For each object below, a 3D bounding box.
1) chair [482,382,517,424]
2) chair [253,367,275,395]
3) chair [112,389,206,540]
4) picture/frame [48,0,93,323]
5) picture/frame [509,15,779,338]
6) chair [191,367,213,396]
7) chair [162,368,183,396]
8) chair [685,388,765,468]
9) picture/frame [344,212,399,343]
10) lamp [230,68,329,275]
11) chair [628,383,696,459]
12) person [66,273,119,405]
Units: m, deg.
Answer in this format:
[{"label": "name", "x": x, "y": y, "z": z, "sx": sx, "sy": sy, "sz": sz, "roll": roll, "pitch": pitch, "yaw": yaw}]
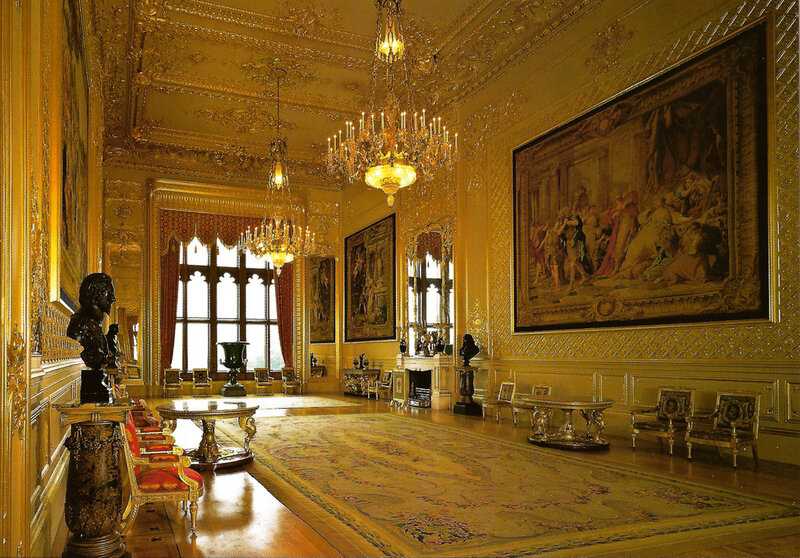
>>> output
[{"label": "chair", "x": 1.982, "y": 2.437, "z": 11.736, "sx": 0.553, "sy": 0.749, "sz": 0.511, "roll": 4, "pitch": -8, "yaw": -33}, {"label": "chair", "x": -4.411, "y": 3.300, "z": 18.806, "sx": 0.692, "sy": 0.960, "sz": 0.764, "roll": 3, "pitch": -10, "yaw": -22}, {"label": "chair", "x": -2.490, "y": 1.869, "z": 6.319, "sx": 1.263, "sy": 1.738, "sz": 1.084, "roll": 1, "pitch": -3, "yaw": -13}, {"label": "picture/frame", "x": -4.382, "y": -1.755, "z": 7.921, "sx": 0.247, "sy": 4.298, "sz": 4.877, "roll": 0, "pitch": -2, "yaw": -27}, {"label": "picture/frame", "x": 4.083, "y": -1.718, "z": 9.576, "sx": 0.213, "sy": 3.922, "sz": 5.634, "roll": 3, "pitch": -6, "yaw": -28}, {"label": "chair", "x": -6.044, "y": 3.121, "z": 17.709, "sx": 0.668, "sy": 0.973, "sz": 0.706, "roll": 2, "pitch": -7, "yaw": -20}, {"label": "chair", "x": -6.667, "y": 3.020, "z": 17.102, "sx": 0.734, "sy": 1.075, "sz": 0.696, "roll": 2, "pitch": -6, "yaw": -22}, {"label": "chair", "x": 4.404, "y": 2.009, "z": 8.001, "sx": 0.765, "sy": 0.934, "sz": 0.825, "roll": 3, "pitch": -5, "yaw": -43}, {"label": "picture/frame", "x": -0.834, "y": -0.026, "z": 17.809, "sx": 0.186, "sy": 3.978, "sz": 3.913, "roll": 3, "pitch": -7, "yaw": -23}, {"label": "lamp", "x": -3.253, "y": -2.572, "z": 15.708, "sx": 1.887, "sy": 4.871, "sz": 1.908, "roll": 12, "pitch": 18, "yaw": 38}, {"label": "chair", "x": 3.896, "y": 2.085, "z": 8.716, "sx": 0.666, "sy": 0.939, "sz": 0.763, "roll": 3, "pitch": -6, "yaw": -33}, {"label": "person", "x": -2.767, "y": 0.517, "z": 5.263, "sx": 0.406, "sy": 1.140, "sz": 0.557, "roll": 0, "pitch": -1, "yaw": -26}]
